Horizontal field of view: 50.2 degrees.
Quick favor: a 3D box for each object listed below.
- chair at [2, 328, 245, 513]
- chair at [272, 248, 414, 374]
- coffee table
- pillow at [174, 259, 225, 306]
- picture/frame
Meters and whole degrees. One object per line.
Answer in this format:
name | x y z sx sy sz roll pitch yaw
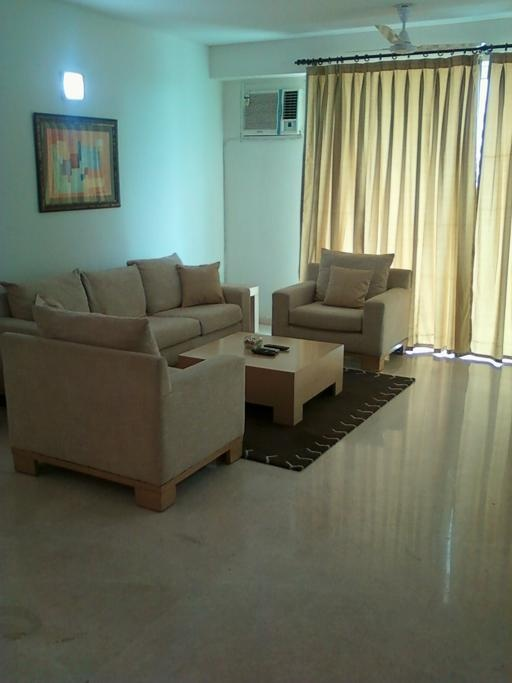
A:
chair | -0.621 0.270 2.795 1.035 0.893 0.801 6 17 29
chair | 0.811 -0.319 5.169 1.042 1.036 0.804 10 15 32
coffee table | 0.280 0.184 3.827 0.687 0.314 0.759 7 15 26
pillow | -0.565 -0.559 5.312 0.481 0.556 0.176 -8 -4 -19
picture/frame | -1.492 -1.504 4.644 0.026 0.738 0.829 10 18 30
